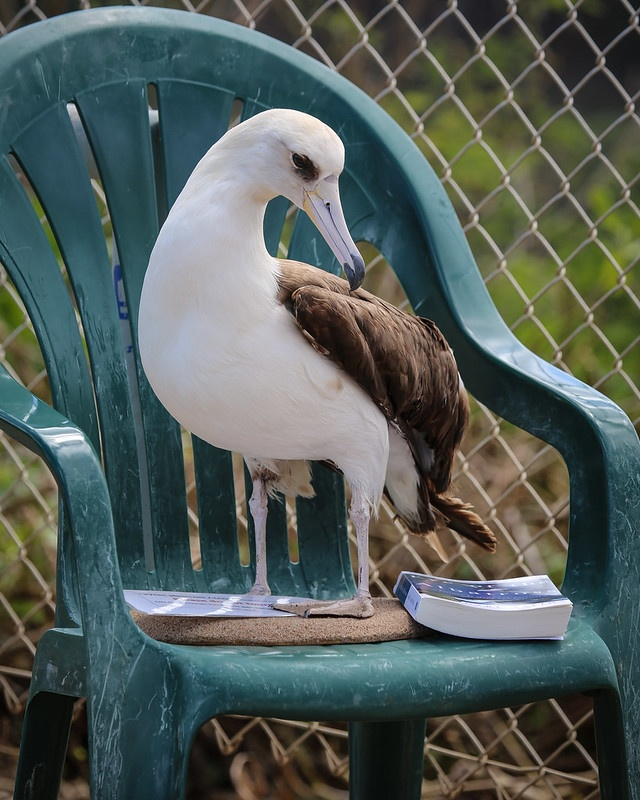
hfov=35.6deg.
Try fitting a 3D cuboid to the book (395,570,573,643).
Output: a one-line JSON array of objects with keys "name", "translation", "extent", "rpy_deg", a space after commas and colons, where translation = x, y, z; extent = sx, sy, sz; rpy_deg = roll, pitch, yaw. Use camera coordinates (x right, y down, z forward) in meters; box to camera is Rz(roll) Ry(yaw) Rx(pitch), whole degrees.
[{"name": "book", "translation": [0.192, 0.234, 1.110], "extent": [0.190, 0.049, 0.186], "rpy_deg": [1, 0, 12]}]

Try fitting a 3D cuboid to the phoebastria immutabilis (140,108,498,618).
[{"name": "phoebastria immutabilis", "translation": [0.040, 0.008, 1.237], "extent": [0.308, 0.476, 0.606], "rpy_deg": [-4, -18, 42]}]
